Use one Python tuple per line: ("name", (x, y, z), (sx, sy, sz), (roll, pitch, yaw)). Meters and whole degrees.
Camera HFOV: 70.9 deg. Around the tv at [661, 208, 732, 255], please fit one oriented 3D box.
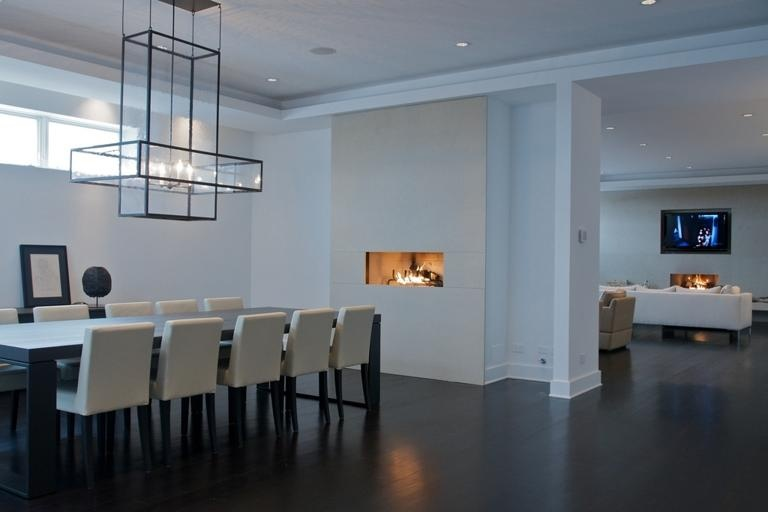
("tv", (9.265, -0.706, 15.871), (1.377, 0.982, 0.136), (1, 3, 29))
